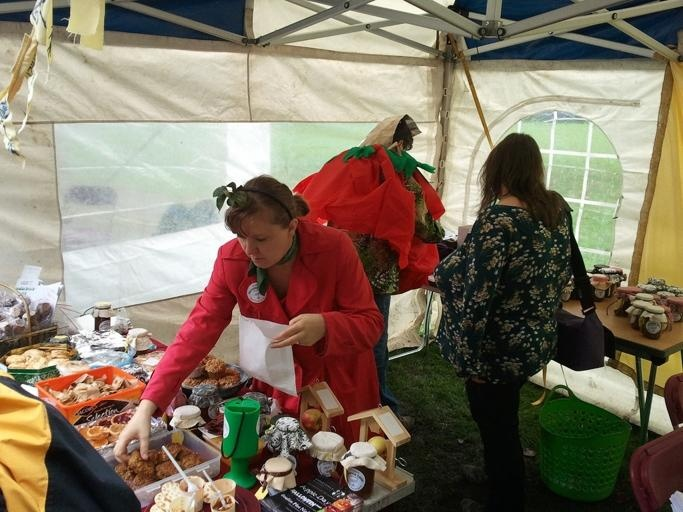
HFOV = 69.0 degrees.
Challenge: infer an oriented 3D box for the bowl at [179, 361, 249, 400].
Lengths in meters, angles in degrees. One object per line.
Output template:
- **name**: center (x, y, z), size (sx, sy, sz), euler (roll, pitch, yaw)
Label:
- **bowl**: center (-0.536, 0.552, 2.209), size (0.256, 0.132, 0.288), euler (11, 14, 40)

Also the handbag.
- **handbag**: center (1.406, 0.489, 2.969), size (0.298, 0.423, 0.346), euler (14, 16, 39)

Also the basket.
- **basket**: center (1.655, 1.290, 3.346), size (0.535, 0.672, 0.516), euler (7, 14, -13)

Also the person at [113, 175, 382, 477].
- **person**: center (-0.330, 0.151, 2.164), size (0.739, 1.301, 0.766), euler (1, 16, -18)

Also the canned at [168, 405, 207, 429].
- **canned**: center (-0.597, 0.621, 1.899), size (0.093, 0.039, 0.089), euler (1, 1, 2)

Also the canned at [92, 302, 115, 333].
- **canned**: center (-1.447, 0.371, 2.997), size (0.157, 0.210, 0.155), euler (5, -7, -43)

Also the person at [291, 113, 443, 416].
- **person**: center (0.210, 0.011, 3.680), size (1.025, 2.043, 0.969), euler (20, 21, 41)

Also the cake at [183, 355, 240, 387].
- **cake**: center (-0.578, 0.511, 2.178), size (0.232, 0.050, 0.228), euler (-1, 8, 2)

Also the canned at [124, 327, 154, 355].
- **canned**: center (-1.143, 0.483, 2.781), size (0.133, 0.083, 0.128), euler (0, -1, -6)
